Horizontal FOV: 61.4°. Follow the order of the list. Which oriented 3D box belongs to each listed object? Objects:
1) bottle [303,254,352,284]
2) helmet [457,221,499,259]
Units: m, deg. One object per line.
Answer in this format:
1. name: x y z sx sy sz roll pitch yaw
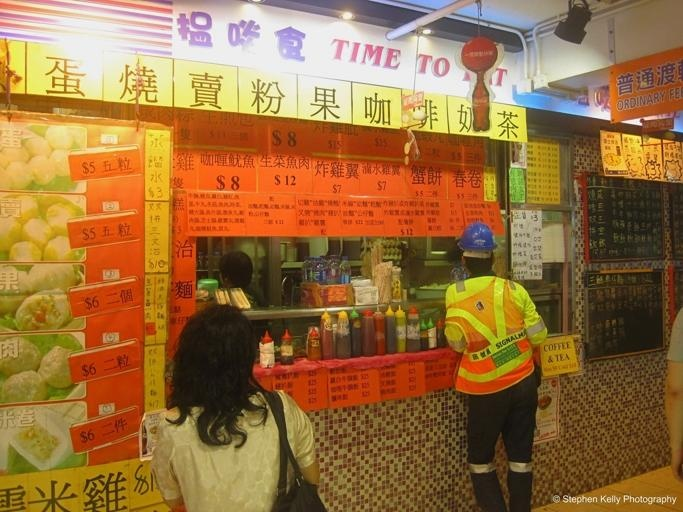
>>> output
1. bottle: -0.089 0.112 4.600 0.379 0.213 0.237 -4 5 -27
2. helmet: 1.119 -0.153 4.628 0.251 0.199 0.339 2 7 23
